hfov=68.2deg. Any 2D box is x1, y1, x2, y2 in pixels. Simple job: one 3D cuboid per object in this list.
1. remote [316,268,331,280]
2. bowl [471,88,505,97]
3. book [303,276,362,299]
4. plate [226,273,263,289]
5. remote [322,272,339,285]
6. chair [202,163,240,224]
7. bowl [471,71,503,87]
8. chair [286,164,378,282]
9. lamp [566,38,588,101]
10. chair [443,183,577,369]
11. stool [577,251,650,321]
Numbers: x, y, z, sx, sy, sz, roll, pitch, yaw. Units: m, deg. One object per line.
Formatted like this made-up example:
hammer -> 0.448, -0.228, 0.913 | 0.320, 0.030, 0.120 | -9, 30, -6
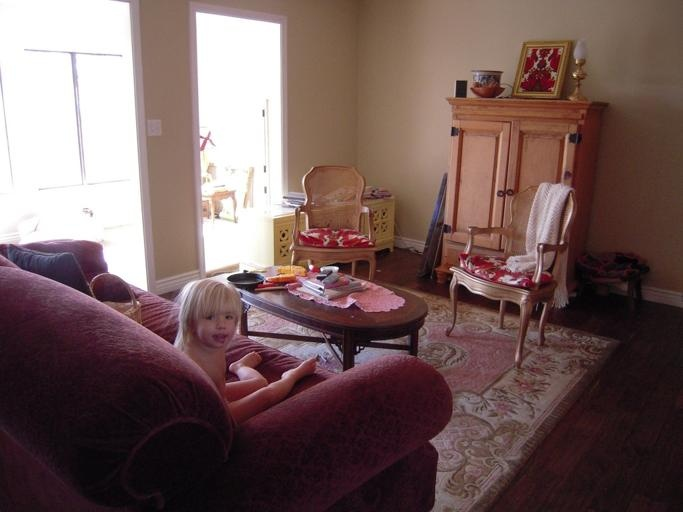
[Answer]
remote -> -0.097, 0.098, 2.904 | 0.046, 0.021, 0.077 | 2, 20, 10
bowl -> 1.221, -1.393, 4.264 | 0.262, 0.095, 0.159 | 3, 16, 11
book -> -0.086, 0.176, 2.868 | 0.176, 0.039, 0.165 | -9, 17, -38
plate -> -0.554, 0.140, 2.972 | 0.136, 0.026, 0.125 | -11, 24, -31
remote -> -0.059, 0.125, 2.843 | 0.047, 0.021, 0.093 | 2, 15, 16
chair -> -1.607, -0.810, 6.913 | 0.387, 0.532, 0.381 | -6, 4, -10
bowl -> 1.265, -1.504, 4.280 | 0.203, 0.087, 0.192 | 0, 11, 0
chair -> -0.100, -0.232, 4.095 | 0.733, 0.927, 0.662 | -4, 14, -16
lamp -> 1.872, -1.479, 3.963 | 0.117, 0.506, 0.680 | 6, 17, 22
chair -> 1.161, 0.054, 3.399 | 0.650, 1.090, 0.706 | -5, 16, -35
stool -> 2.291, 0.196, 4.276 | 0.577, 0.415, 0.560 | 4, 17, 38
